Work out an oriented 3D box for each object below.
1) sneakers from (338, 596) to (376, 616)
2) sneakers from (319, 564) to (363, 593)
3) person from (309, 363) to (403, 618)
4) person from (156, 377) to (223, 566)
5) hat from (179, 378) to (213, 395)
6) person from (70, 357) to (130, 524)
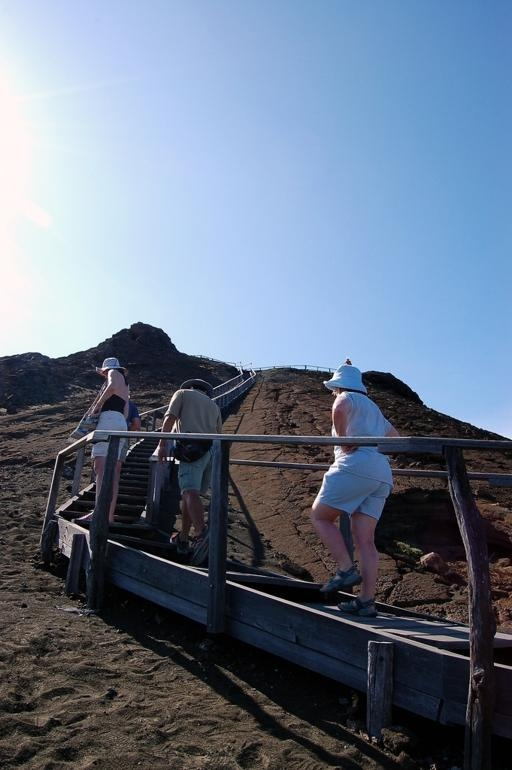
[{"bbox_3d":[0.527,1.180,2.900,0.202,0.100,0.082,1,-19,27],"label":"sneakers"},{"bbox_3d":[0.464,1.057,2.926,0.210,0.161,0.157,2,-8,20],"label":"sneakers"},{"bbox_3d":[0.524,0.540,2.993,0.439,1.480,0.735,3,-7,14],"label":"person"},{"bbox_3d":[-0.589,0.660,4.579,0.509,1.550,1.168,5,-7,-5],"label":"person"},{"bbox_3d":[-1.048,0.003,9.003,0.446,0.149,0.492,1,-35,-4],"label":"hat"},{"bbox_3d":[-1.530,0.506,5.445,0.498,1.850,0.580,-11,-30,15],"label":"person"}]
